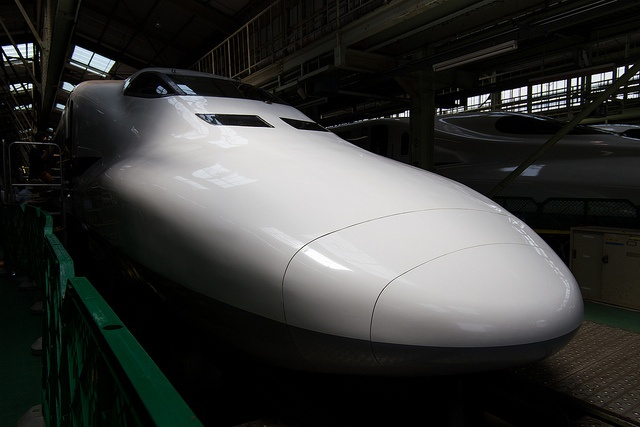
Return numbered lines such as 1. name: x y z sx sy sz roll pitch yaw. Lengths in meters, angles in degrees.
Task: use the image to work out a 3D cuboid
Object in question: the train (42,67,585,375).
1. train: -0.790 -0.287 4.104 1.891 1.420 4.823 -8 16 -35
